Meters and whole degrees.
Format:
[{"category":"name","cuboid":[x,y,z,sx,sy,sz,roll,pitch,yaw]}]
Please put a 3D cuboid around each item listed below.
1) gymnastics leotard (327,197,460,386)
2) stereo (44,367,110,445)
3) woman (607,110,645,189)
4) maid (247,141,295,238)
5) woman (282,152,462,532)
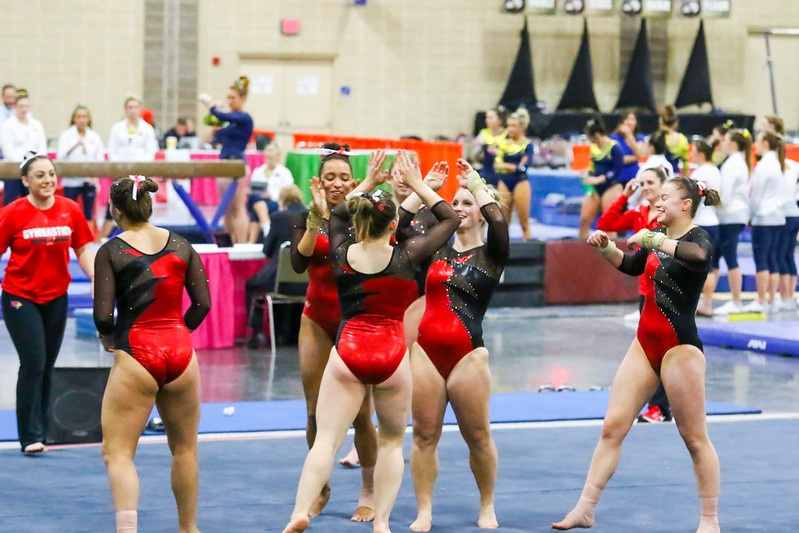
[{"category":"gymnastics leotard","cuboid":[-0.052,0.240,13.218,1.137,2.371,0.719,9,18,14]},{"category":"stereo","cuboid":[-3.295,1.371,15.067,0.740,0.728,0.183,-4,8,-16]},{"category":"woman","cuboid":[3.360,-1.408,21.497,0.499,1.654,0.500,-4,4,-2]},{"category":"maid","cuboid":[-1.908,-1.028,20.881,0.514,1.246,0.677,14,34,1]},{"category":"woman","cuboid":[-0.241,0.671,13.105,1.302,3.381,0.626,2,6,-6]}]
